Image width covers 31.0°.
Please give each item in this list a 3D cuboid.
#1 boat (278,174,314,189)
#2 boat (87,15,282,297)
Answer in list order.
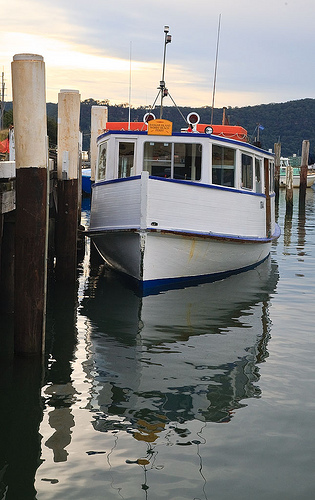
[{"bbox_3d":[13.841,-6.864,57.511,2.959,1.412,6.029,5,9,25],"label":"boat"},{"bbox_3d":[0.528,-1.056,12.467,2.792,3.764,6.589,1,3,11],"label":"boat"}]
